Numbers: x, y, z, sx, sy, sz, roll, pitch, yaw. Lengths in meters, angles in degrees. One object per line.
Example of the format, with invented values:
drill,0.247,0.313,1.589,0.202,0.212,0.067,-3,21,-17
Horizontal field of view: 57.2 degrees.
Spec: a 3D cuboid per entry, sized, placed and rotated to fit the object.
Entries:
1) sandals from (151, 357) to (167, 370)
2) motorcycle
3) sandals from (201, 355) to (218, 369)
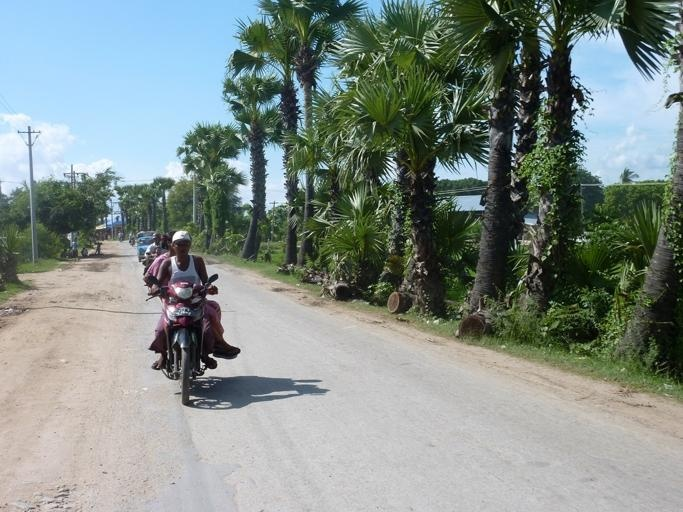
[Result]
sandals,-2.602,1.526,8.872,0.122,0.151,0.382,6,-8,-17
motorcycle,-2.161,0.805,8.486,0.884,2.145,1.325,-3,8,-23
sandals,-1.849,1.494,8.668,0.252,0.108,0.126,35,6,3
